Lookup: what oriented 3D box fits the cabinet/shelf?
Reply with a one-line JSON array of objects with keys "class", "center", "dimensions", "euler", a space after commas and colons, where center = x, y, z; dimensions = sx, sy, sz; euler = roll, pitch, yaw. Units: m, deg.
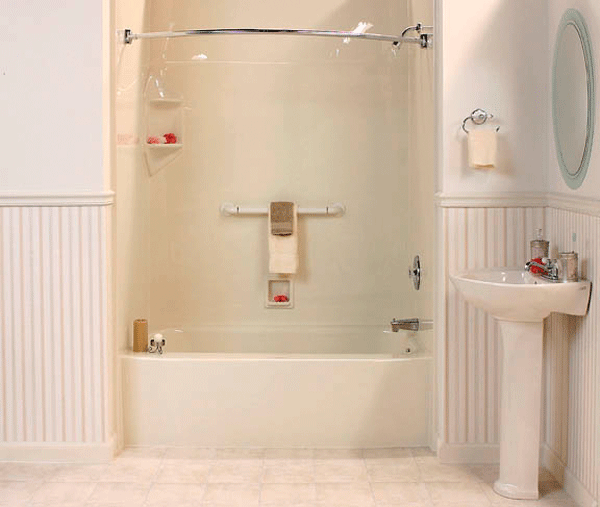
[{"class": "cabinet/shelf", "center": [-0.884, -0.760, 3.769], "dimensions": [0.269, 0.476, 0.140], "euler": [-4, 12, -37]}]

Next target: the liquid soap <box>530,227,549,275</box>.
[{"class": "liquid soap", "center": [1.210, -0.041, 2.992], "dimensions": [0.094, 0.161, 0.092], "euler": [-5, 7, 5]}]

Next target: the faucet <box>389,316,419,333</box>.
[{"class": "faucet", "center": [0.611, 0.413, 3.476], "dimensions": [0.134, 0.062, 0.079], "euler": [0, -1, 19]}]

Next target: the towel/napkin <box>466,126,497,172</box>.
[{"class": "towel/napkin", "center": [0.939, -0.541, 3.068], "dimensions": [0.136, 0.212, 0.101], "euler": [0, 6, 13]}]

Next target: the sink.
[{"class": "sink", "center": [1.003, 0.193, 2.692], "dimensions": [0.349, 0.123, 0.314], "euler": [1, 4, -1]}]
